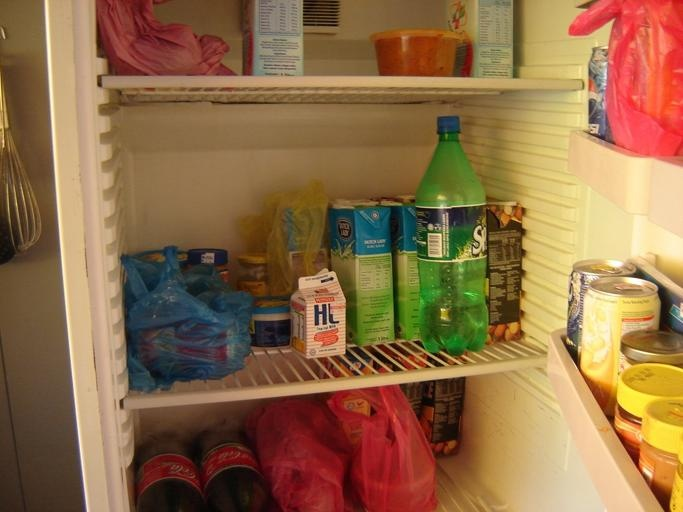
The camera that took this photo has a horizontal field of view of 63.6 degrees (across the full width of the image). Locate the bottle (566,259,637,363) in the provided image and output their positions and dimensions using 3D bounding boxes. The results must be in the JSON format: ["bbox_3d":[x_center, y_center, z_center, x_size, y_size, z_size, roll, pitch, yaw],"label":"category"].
[{"bbox_3d":[0.426,0.101,0.904,0.111,0.155,0.110,1,10,0],"label":"bottle"}]

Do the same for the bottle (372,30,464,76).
[{"bbox_3d":[0.180,-0.481,1.334,0.244,0.091,0.248,1,15,0],"label":"bottle"}]

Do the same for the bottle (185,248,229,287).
[{"bbox_3d":[-0.354,0.044,1.405,0.117,0.064,0.107,9,53,-13],"label":"bottle"}]

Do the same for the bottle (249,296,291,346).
[{"bbox_3d":[-0.182,0.177,1.402,0.109,0.107,0.109,-1,3,-8],"label":"bottle"}]

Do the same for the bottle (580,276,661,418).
[{"bbox_3d":[0.420,0.137,0.827,0.123,0.162,0.121,0,2,0],"label":"bottle"}]

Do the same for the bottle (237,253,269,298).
[{"bbox_3d":[-0.220,0.052,1.476,0.102,0.104,0.100,0,16,-3],"label":"bottle"}]
